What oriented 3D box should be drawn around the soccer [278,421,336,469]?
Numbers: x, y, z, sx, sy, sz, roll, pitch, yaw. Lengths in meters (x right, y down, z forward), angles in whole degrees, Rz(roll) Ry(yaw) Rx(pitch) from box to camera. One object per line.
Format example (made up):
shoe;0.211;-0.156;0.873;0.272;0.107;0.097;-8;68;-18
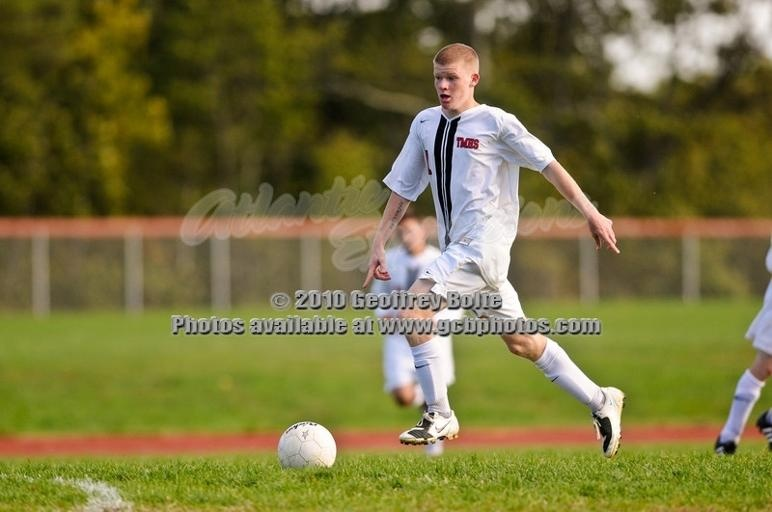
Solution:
soccer;-0.888;2.209;15.558;0.552;0.577;0.517;2;-17;-8
